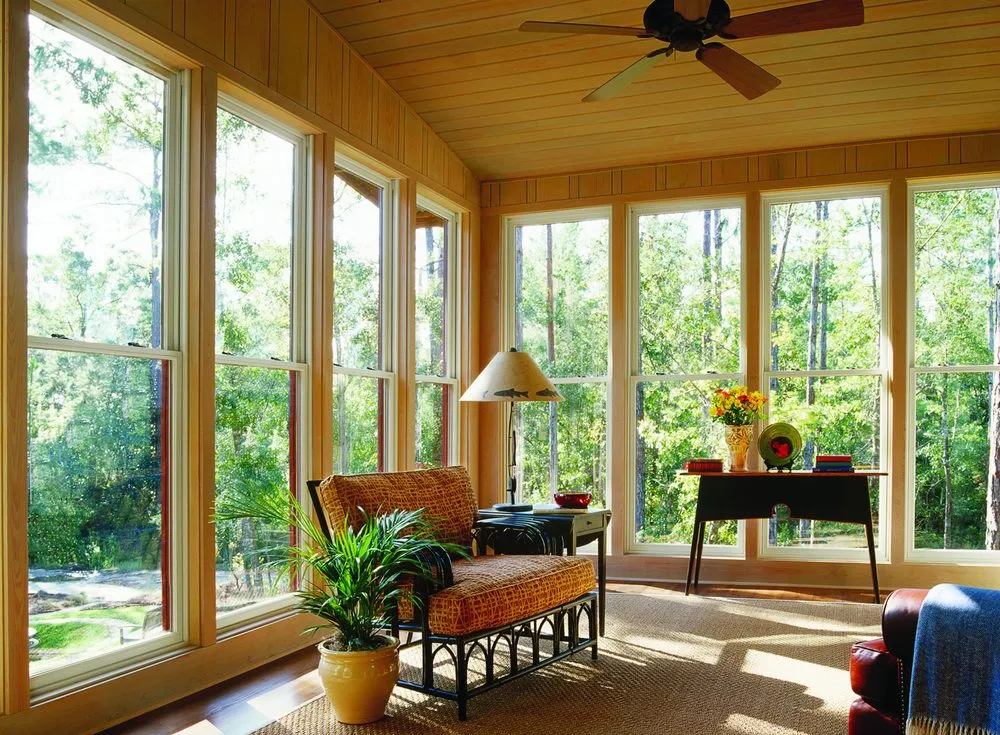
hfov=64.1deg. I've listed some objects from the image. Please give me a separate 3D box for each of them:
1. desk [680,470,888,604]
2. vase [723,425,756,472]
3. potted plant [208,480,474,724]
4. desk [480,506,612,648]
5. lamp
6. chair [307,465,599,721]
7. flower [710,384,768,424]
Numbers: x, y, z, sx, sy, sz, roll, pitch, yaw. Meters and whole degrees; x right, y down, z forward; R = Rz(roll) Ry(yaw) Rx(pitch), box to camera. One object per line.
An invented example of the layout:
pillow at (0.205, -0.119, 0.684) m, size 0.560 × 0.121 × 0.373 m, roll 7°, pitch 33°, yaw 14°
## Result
desk at (1.942, 1.130, 5.477) m, size 1.278 × 0.805 × 0.501 m, roll -2°, pitch -6°, yaw 20°
vase at (1.676, 0.574, 5.556) m, size 0.214 × 0.312 × 0.217 m, roll 4°, pitch -9°, yaw -15°
potted plant at (-0.668, 0.959, 3.851) m, size 0.995 × 0.958 × 1.149 m, roll -3°, pitch -8°, yaw 30°
desk at (0.279, 1.144, 4.457) m, size 0.510 × 0.660 × 0.695 m, roll -3°, pitch -9°, yaw 18°
lamp at (0.070, 0.347, 4.616) m, size 0.609 × 0.840 × 0.588 m, roll -2°, pitch 2°, yaw -28°
chair at (-0.204, 0.975, 3.911) m, size 1.342 × 0.869 × 1.325 m, roll 0°, pitch -3°, yaw 13°
flower at (1.667, 0.280, 5.610) m, size 0.336 × 0.263 × 0.336 m, roll -1°, pitch -1°, yaw 15°
